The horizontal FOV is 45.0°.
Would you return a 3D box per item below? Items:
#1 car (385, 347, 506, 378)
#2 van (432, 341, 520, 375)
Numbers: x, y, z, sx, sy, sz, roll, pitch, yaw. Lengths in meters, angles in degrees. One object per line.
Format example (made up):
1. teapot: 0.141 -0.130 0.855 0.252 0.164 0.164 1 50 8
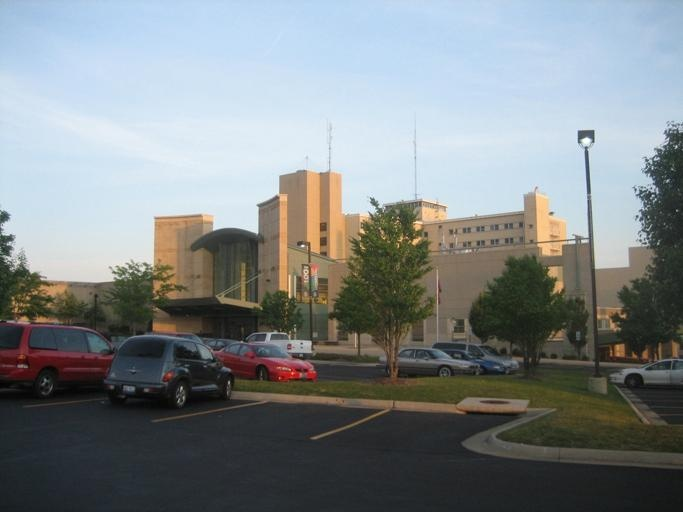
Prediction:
1. car: 4.391 4.790 37.216 3.747 1.291 3.066 0 -6 -1
2. van: 6.526 5.177 40.225 3.636 1.195 1.820 -1 -4 27
